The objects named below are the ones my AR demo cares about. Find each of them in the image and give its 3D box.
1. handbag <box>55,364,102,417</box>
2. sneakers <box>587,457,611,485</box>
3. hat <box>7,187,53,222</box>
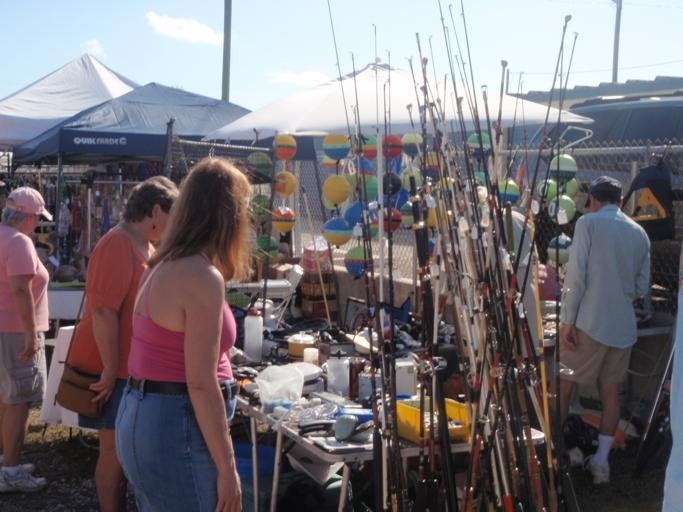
[{"bbox_3d":[-1.432,0.728,4.198,0.275,0.247,0.141,5,5,35],"label":"handbag"},{"bbox_3d":[1.653,1.373,5.014,0.146,0.159,0.138,4,5,27],"label":"sneakers"},{"bbox_3d":[-1.993,-0.345,5.011,0.181,0.171,0.277,15,5,44],"label":"hat"}]
